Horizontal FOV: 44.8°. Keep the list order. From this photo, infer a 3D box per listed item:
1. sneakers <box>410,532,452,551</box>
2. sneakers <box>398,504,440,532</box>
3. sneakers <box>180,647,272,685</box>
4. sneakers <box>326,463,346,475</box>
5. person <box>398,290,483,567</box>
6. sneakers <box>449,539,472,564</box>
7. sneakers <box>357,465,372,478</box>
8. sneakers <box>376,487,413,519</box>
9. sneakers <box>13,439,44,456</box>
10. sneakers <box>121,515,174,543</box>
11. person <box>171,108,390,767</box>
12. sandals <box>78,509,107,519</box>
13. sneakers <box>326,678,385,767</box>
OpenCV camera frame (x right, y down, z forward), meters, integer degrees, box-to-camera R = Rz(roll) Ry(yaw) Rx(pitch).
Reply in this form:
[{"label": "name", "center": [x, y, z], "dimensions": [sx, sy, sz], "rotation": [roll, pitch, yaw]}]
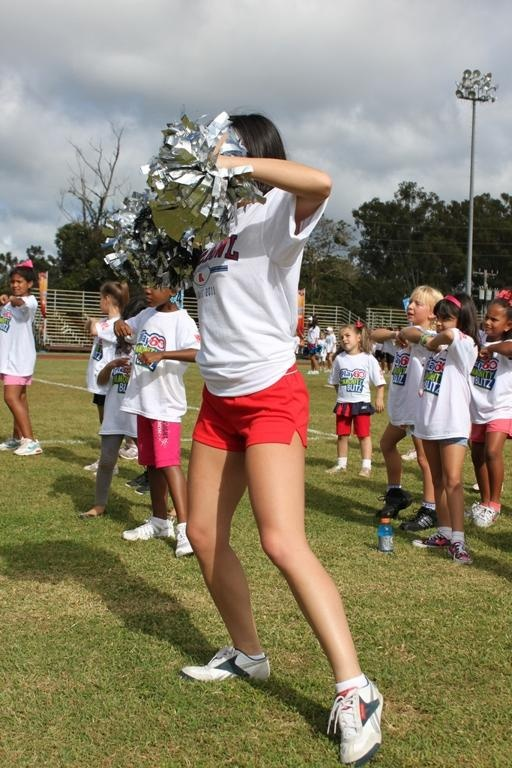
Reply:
[{"label": "sneakers", "center": [1.182, 1.067, 4.189], "dimensions": [0.247, 0.091, 0.088], "rotation": [2, -4, 13]}, {"label": "sneakers", "center": [1.241, 1.040, 4.785], "dimensions": [0.382, 0.152, 0.129], "rotation": [-1, -4, -41]}, {"label": "sneakers", "center": [-0.091, 1.000, 2.240], "dimensions": [0.352, 0.130, 0.113], "rotation": [2, -9, -4]}, {"label": "sneakers", "center": [0.870, 0.955, 6.821], "dimensions": [0.234, 0.092, 0.085], "rotation": [-1, -4, -44]}, {"label": "person", "center": [1.228, 0.231, 4.188], "dimensions": [0.462, 1.770, 0.763], "rotation": [3, 1, 15]}, {"label": "sneakers", "center": [1.246, 1.041, 3.842], "dimensions": [0.092, 0.138, 0.162], "rotation": [2, 1, -44]}, {"label": "sneakers", "center": [1.180, 0.972, 6.778], "dimensions": [0.097, 0.118, 0.278], "rotation": [0, -6, 12]}, {"label": "sneakers", "center": [1.106, 0.969, 4.981], "dimensions": [0.318, 0.212, 0.111], "rotation": [-30, 6, 17]}, {"label": "sneakers", "center": [-2.454, 0.710, 6.785], "dimensions": [0.133, 0.157, 0.337], "rotation": [-1, -3, 29]}, {"label": "sneakers", "center": [-0.705, 0.961, 4.140], "dimensions": [0.359, 0.150, 0.133], "rotation": [0, 7, -21]}, {"label": "person", "center": [0.044, 0.092, 1.940], "dimensions": [0.543, 1.776, 0.808], "rotation": [3, 1, -27]}, {"label": "sandals", "center": [-1.159, 0.917, 4.456], "dimensions": [0.163, 0.056, 0.139], "rotation": [1, 15, 37]}, {"label": "sneakers", "center": [0.290, 0.925, 1.789], "dimensions": [0.106, 0.124, 0.271], "rotation": [-42, 5, 18]}]
